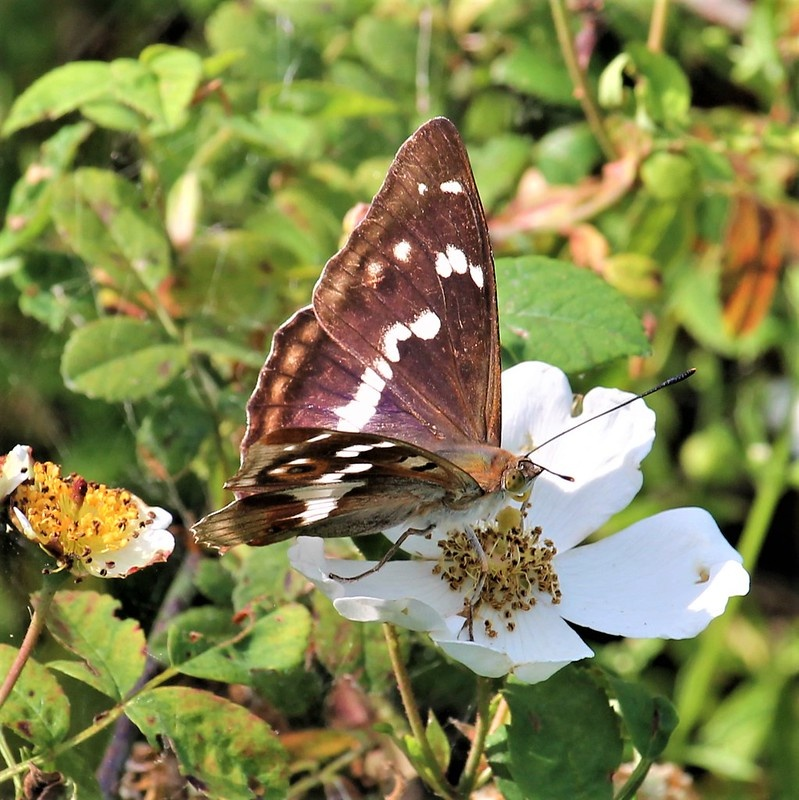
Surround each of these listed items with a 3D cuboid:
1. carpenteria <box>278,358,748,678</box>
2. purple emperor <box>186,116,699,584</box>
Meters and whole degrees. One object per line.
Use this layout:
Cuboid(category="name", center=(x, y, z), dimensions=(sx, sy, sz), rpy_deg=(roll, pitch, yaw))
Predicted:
Cuboid(category="carpenteria", center=(0.085, 0.179, 1.340), dimensions=(0.478, 0.414, 0.244), rpy_deg=(29, -31, -1))
Cuboid(category="purple emperor", center=(-0.008, -0.048, 1.251), dimensions=(0.650, 0.468, 0.663), rpy_deg=(9, 30, 4))
